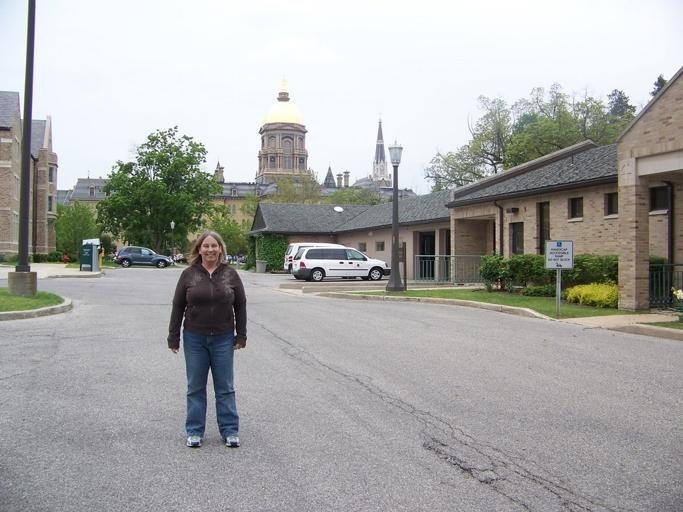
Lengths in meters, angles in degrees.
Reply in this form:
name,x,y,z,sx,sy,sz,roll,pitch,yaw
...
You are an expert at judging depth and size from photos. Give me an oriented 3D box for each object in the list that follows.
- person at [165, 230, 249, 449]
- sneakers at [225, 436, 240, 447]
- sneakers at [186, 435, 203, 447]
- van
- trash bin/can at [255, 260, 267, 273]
name,x,y,z,sx,sy,sz,roll,pitch,yaw
person,-1.381,0.831,6.211,0.772,2.157,0.550,0,4,-12
sneakers,-1.107,1.874,6.134,0.140,0.095,0.138,0,4,-11
sneakers,-1.498,1.864,6.122,0.159,0.108,0.155,0,4,-8
van,-0.315,0.426,33.623,4.537,1.855,2.367,-2,1,-15
trash bin/can,-5.992,0.779,45.085,0.755,0.673,0.832,0,-5,5
